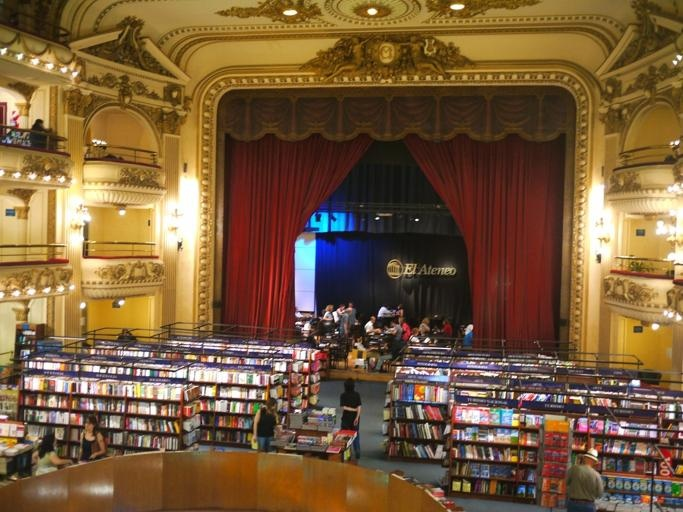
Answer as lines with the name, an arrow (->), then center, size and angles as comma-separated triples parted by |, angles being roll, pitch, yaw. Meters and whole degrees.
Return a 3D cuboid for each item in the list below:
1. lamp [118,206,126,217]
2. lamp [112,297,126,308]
lamp -> -5.830, -1.186, 16.724 | 0.222, 0.208, 0.225 | -2, 5, -26
lamp -> -6.004, 1.234, 16.968 | 0.307, 0.326, 0.322 | -6, -14, 13
